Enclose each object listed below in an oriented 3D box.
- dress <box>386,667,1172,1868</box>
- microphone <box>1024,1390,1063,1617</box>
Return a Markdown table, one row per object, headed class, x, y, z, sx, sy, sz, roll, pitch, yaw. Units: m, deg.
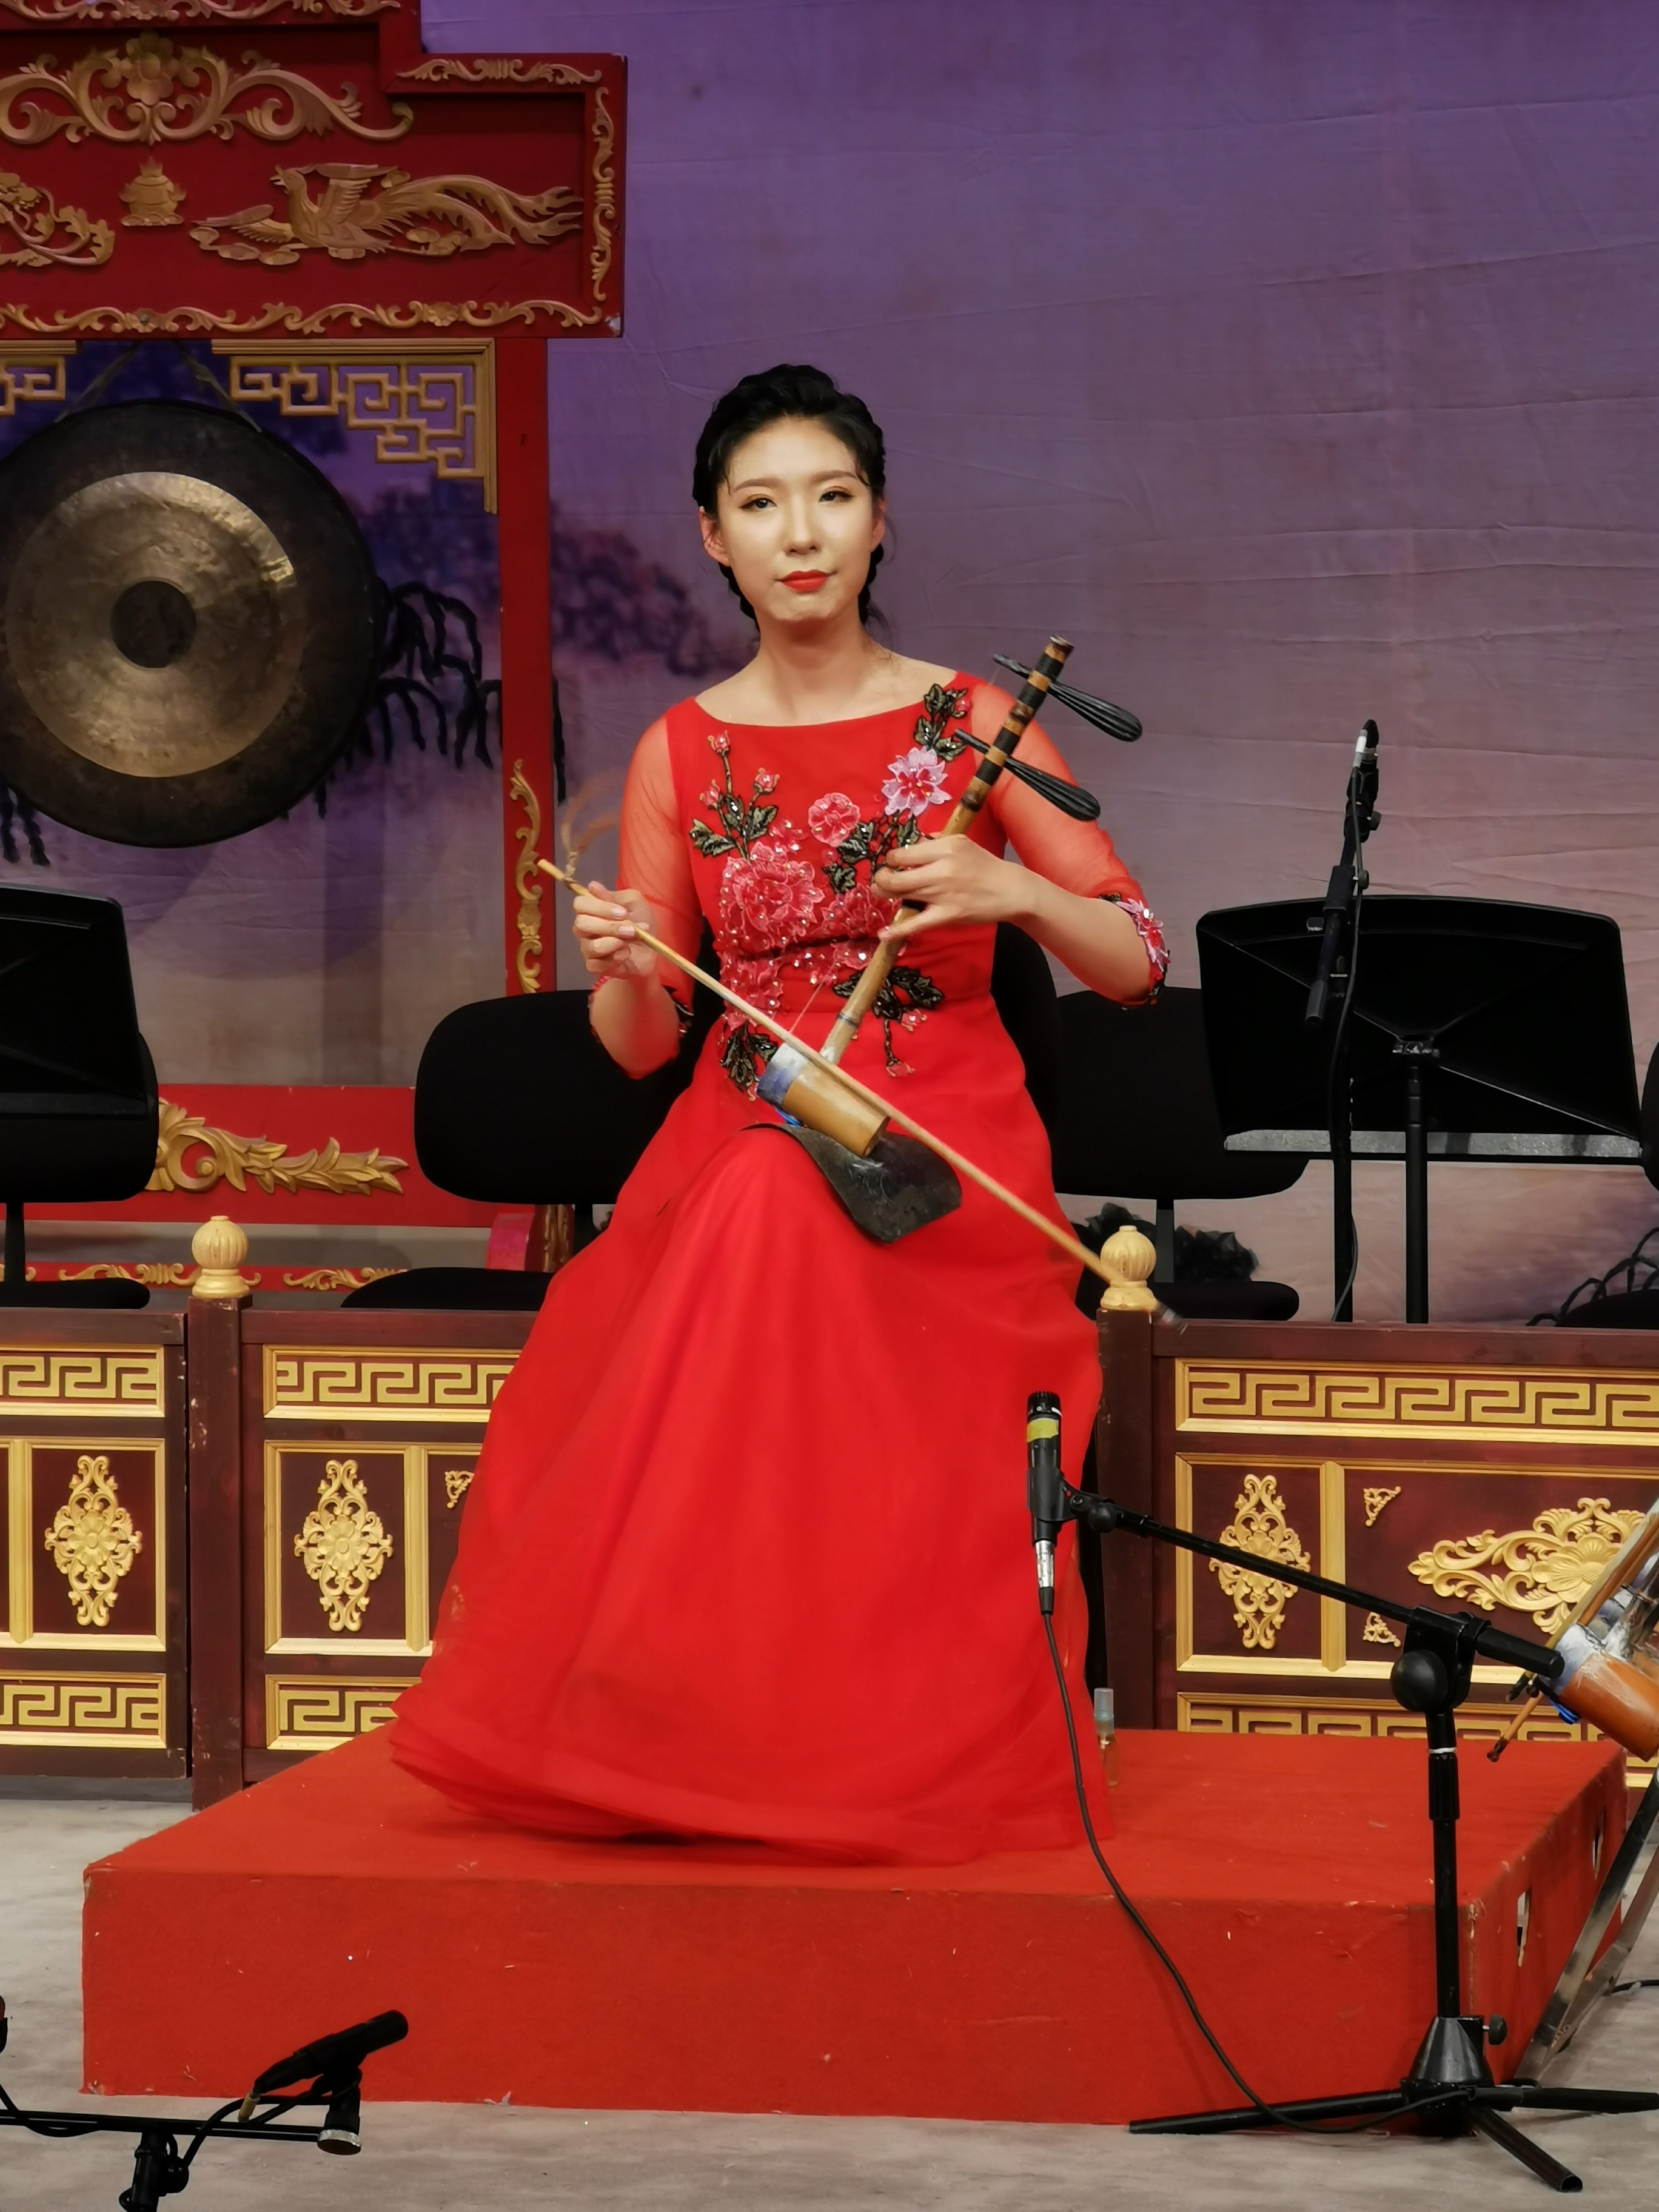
| class | x | y | z | sx | sy | sz | roll | pitch | yaw |
| --- | --- | --- | --- | --- | --- | --- | --- | --- | --- |
| dress | -0.027 | 0.198 | 3.041 | 0.733 | 0.903 | 0.384 | 3 | -24 | 5 |
| microphone | 0.152 | 0.301 | 2.556 | 0.036 | 0.151 | 0.031 | -3 | -15 | 6 |
